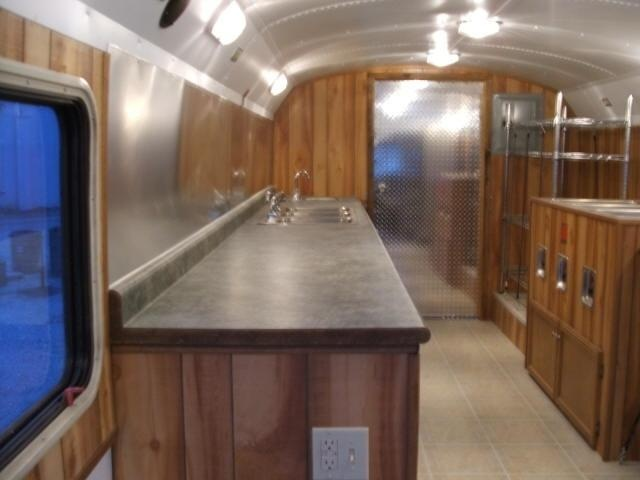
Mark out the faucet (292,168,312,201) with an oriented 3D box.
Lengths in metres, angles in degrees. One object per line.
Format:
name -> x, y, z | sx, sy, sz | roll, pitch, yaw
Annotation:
faucet -> -0.178, -0.537, 4.761 | 0.164, 0.269, 0.502 | -1, 10, -3
